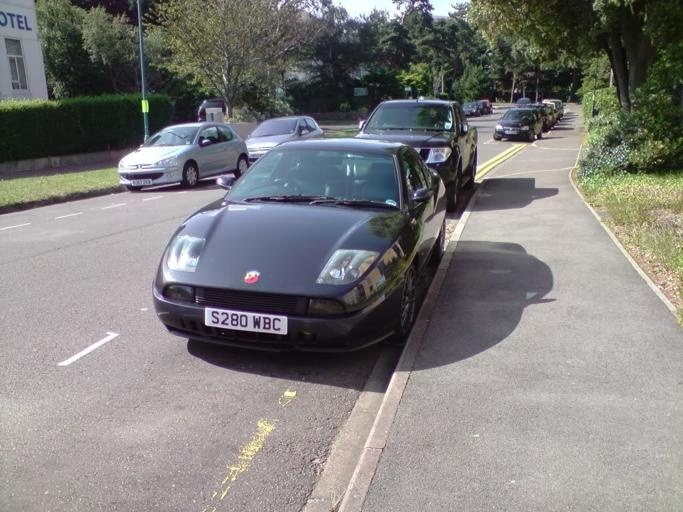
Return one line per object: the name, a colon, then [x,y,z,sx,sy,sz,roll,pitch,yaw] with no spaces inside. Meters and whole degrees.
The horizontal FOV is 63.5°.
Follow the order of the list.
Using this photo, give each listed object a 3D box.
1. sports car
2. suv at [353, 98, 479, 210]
sports car: [-0.285,-0.119,5.671,2.140,1.871,3.056,10,19,34]
suv: [1.980,-2.506,12.539,1.638,1.752,3.570,5,12,18]
